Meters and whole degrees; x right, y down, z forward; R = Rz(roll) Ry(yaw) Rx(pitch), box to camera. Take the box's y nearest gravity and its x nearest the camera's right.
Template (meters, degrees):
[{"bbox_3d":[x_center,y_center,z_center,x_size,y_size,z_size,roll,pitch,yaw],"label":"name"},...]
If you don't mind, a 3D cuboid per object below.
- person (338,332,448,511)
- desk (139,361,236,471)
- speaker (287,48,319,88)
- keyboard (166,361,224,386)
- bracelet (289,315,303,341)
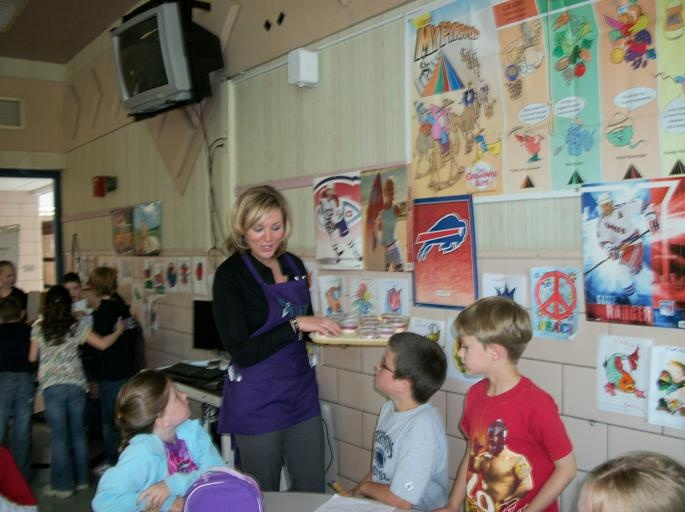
[{"bbox_3d":[0.270,0.533,2.406,0.532,0.852,0.893,2,0,10],"label":"person"},{"bbox_3d":[-1.034,1.026,3.501,0.437,0.529,0.534,15,-11,-32],"label":"desk"},{"bbox_3d":[-0.246,-1.107,2.993,0.191,0.174,0.206,-8,19,10],"label":"speaker"},{"bbox_3d":[-0.945,0.772,3.352,0.284,0.075,0.284,4,5,42],"label":"keyboard"},{"bbox_3d":[-0.197,0.327,2.303,0.033,0.100,0.074,-15,34,-17],"label":"bracelet"}]
